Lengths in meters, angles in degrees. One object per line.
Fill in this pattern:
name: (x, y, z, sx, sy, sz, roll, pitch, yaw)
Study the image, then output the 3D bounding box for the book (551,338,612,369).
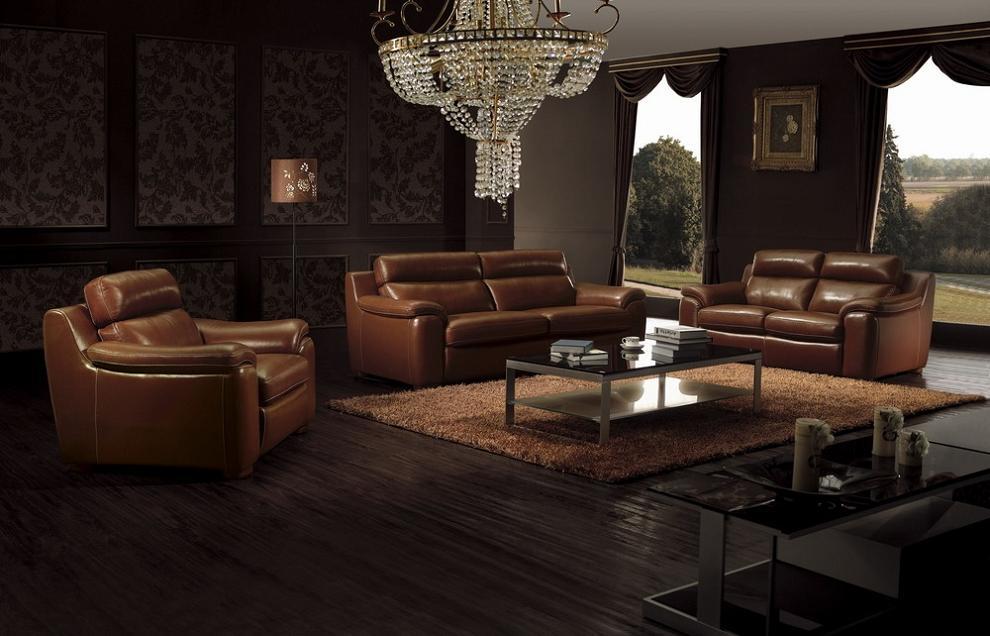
book: (0.617, 0.238, 5.111, 0.433, 0.125, 0.434, 1, 11, 7)

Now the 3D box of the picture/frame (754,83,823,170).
picture/frame: (3.646, -2.344, 8.779, 1.023, 1.317, 0.165, 4, 7, 40)

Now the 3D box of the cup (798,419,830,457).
cup: (1.325, 0.490, 2.962, 0.136, 0.143, 0.117, 2, 4, 34)

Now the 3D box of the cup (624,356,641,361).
cup: (1.004, 0.287, 5.189, 0.067, 0.024, 0.048, -3, 3, -12)

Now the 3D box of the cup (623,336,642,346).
cup: (1.090, 0.181, 5.508, 0.127, 0.058, 0.085, 1, -3, -36)

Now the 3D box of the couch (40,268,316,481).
couch: (-2.030, 0.279, 4.849, 1.433, 1.097, 1.536, 2, 7, -8)
